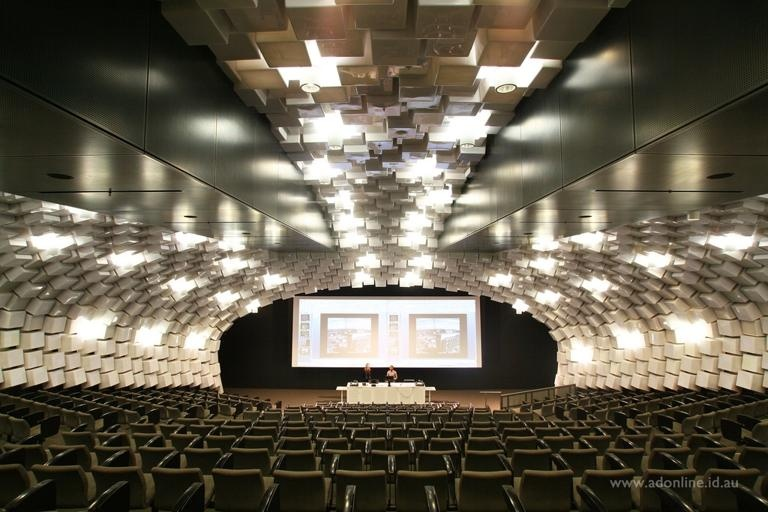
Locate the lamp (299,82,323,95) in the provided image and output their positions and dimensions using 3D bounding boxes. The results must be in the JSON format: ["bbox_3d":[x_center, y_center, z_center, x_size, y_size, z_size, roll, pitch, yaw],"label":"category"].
[{"bbox_3d":[-0.915,-2.042,5.776,0.240,0.074,0.353,1,-12,-9],"label":"lamp"}]

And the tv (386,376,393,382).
[{"bbox_3d":[0.235,4.398,16.857,0.342,0.078,0.345,2,-5,-22],"label":"tv"}]
